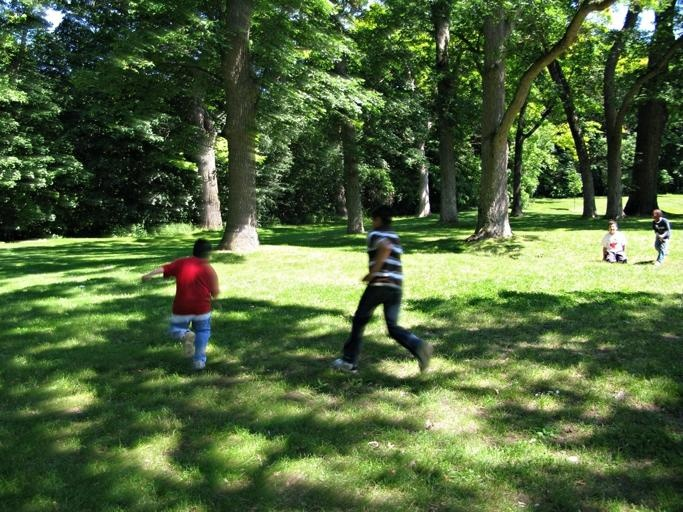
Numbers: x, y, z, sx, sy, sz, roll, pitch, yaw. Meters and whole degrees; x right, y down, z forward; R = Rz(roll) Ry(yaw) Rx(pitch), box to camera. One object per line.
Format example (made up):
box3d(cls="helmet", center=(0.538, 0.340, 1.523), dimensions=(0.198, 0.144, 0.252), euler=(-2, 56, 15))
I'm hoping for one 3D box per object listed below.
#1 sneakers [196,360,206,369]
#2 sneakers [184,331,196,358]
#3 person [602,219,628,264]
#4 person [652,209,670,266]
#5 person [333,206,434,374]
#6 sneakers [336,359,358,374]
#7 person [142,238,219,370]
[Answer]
box3d(cls="sneakers", center=(-2.209, 1.702, 9.088), dimensions=(0.126, 0.093, 0.128), euler=(0, 3, -4))
box3d(cls="sneakers", center=(-2.346, 1.371, 8.966), dimensions=(0.151, 0.373, 0.170), euler=(5, 5, 41))
box3d(cls="person", center=(8.262, -0.483, 17.322), dimensions=(0.701, 1.296, 1.370), euler=(4, 13, 30))
box3d(cls="person", center=(9.384, -0.603, 16.882), dimensions=(0.415, 1.476, 1.207), euler=(4, 12, 28))
box3d(cls="person", center=(0.639, 0.506, 8.849), dimensions=(1.443, 2.494, 0.633), euler=(-2, 11, 2))
box3d(cls="sneakers", center=(0.078, 1.691, 9.010), dimensions=(0.362, 0.174, 0.159), euler=(16, 11, 11))
box3d(cls="person", center=(-2.332, 0.772, 9.096), dimensions=(0.810, 1.967, 0.542), euler=(-6, 11, -19))
